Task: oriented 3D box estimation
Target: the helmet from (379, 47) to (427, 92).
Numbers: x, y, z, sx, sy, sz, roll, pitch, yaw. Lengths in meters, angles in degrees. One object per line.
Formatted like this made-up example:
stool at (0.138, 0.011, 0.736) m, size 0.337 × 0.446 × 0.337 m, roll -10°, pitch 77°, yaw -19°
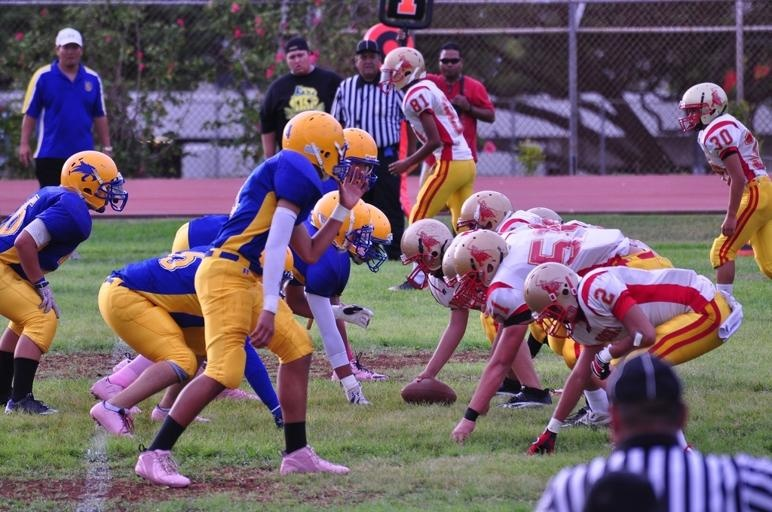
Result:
helmet at (0.181, -1.811, 11.431) m, size 0.429 × 0.365 × 0.335 m, roll -7°, pitch 18°, yaw 17°

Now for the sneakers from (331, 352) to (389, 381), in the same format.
sneakers at (-0.159, 0.897, 9.466) m, size 0.521 × 0.295 × 0.176 m, roll 1°, pitch 0°, yaw 2°

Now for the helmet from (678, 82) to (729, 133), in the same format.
helmet at (2.762, -1.322, 10.584) m, size 0.433 × 0.371 × 0.354 m, roll -8°, pitch 9°, yaw 7°

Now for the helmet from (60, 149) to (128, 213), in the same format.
helmet at (-2.203, -0.574, 9.079) m, size 0.502 × 0.424 × 0.391 m, roll -1°, pitch 13°, yaw -15°

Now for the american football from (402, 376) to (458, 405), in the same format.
american football at (0.324, 1.027, 8.923) m, size 0.311 × 0.199 × 0.203 m, roll 5°, pitch 0°, yaw 8°

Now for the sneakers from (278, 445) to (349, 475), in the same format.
sneakers at (-0.506, 1.377, 7.956) m, size 0.517 × 0.230 × 0.177 m, roll 2°, pitch -5°, yaw -4°

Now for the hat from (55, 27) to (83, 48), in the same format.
hat at (-3.132, -2.160, 11.882) m, size 0.283 × 0.222 × 0.395 m, roll -3°, pitch 6°, yaw -17°

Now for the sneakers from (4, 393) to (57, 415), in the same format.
sneakers at (-2.572, 1.082, 8.652) m, size 0.406 × 0.178 × 0.146 m, roll 0°, pitch -4°, yaw -4°
